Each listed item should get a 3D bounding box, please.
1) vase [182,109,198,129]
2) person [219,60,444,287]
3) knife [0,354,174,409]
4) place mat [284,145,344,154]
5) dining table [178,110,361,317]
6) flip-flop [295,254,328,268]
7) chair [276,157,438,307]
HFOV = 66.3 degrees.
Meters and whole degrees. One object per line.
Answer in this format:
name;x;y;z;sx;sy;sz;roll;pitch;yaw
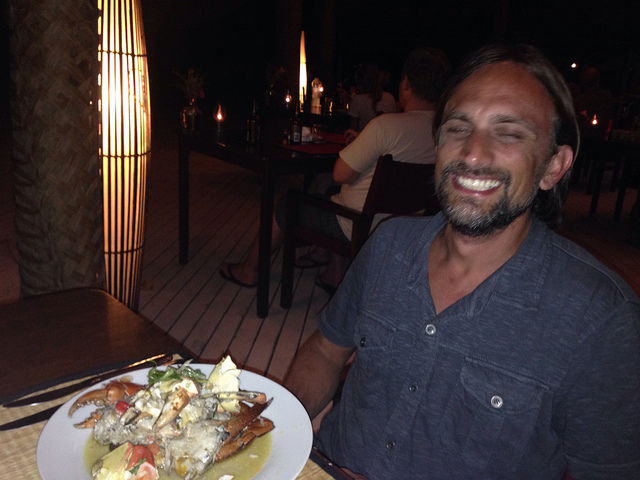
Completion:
vase;-1.053;-0.986;3.997;0.119;0.181;0.141;-6;50;-18
person;0.079;-0.397;3.289;1.220;1.731;0.731;17;10;31
knife;-0.463;0.282;0.965;0.285;0.017;0.042;-11;47;-27
place mat;0.032;-0.641;3.506;0.276;0.021;0.543;19;21;32
dining table;-0.585;-0.226;3.762;1.175;1.022;1.223;3;13;-9
flip-flop;-0.072;0.183;4.096;0.256;0.069;0.094;3;3;-26
chair;0.001;-0.019;3.260;0.741;0.967;0.722;9;-1;-32
